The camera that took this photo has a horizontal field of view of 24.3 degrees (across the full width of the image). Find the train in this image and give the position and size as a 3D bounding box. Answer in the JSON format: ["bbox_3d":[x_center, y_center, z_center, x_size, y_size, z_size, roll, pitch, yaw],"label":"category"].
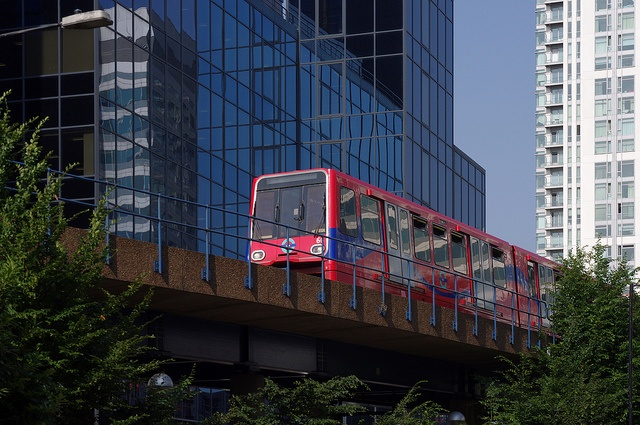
[{"bbox_3d":[2.926,1.888,64.675,3.761,4.261,18.426,-13,-23,37],"label":"train"}]
